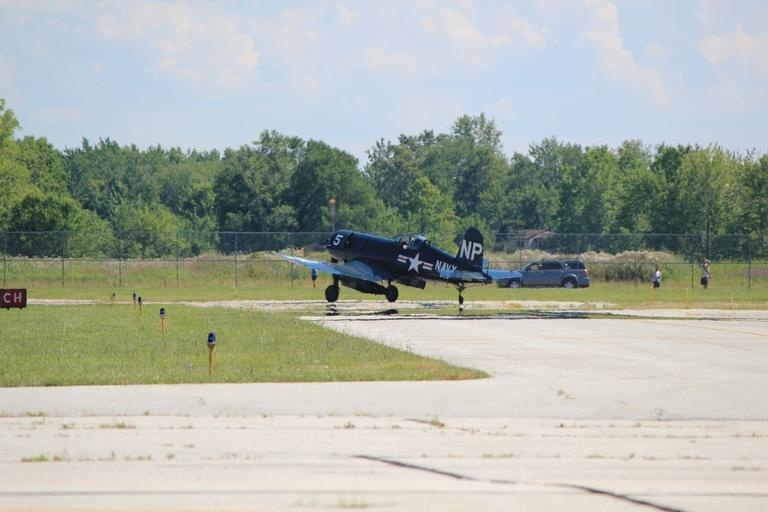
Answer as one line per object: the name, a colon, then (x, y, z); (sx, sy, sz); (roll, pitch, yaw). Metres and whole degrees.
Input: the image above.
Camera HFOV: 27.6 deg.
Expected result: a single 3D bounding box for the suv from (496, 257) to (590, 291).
suv: (12.203, 1.138, 119.842); (5.711, 2.125, 2.707); (2, -1, 8)
